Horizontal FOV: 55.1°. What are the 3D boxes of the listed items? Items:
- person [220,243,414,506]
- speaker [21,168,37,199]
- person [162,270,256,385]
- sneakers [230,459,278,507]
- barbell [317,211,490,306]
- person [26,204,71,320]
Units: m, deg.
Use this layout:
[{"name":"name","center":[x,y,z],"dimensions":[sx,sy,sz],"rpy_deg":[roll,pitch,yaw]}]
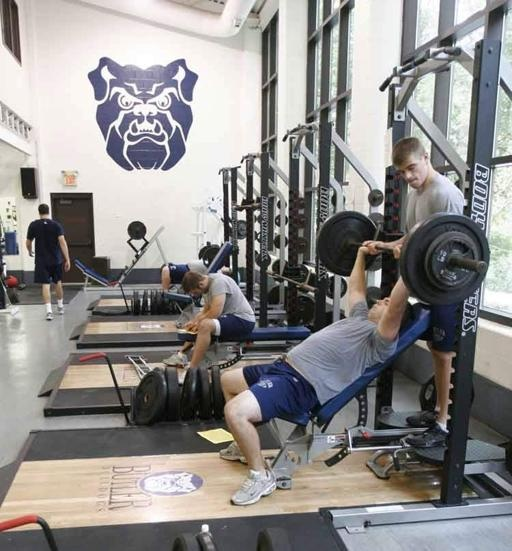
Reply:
[{"name":"person","center":[0.240,0.383,2.266],"dimensions":[0.671,1.115,0.749],"rpy_deg":[4,11,-20]},{"name":"speaker","center":[-3.973,-1.603,8.563],"dimensions":[0.268,0.554,0.220],"rpy_deg":[-2,6,-25]},{"name":"person","center":[-0.290,0.309,3.521],"dimensions":[0.739,0.797,0.540],"rpy_deg":[-1,1,-14]},{"name":"sneakers","center":[-0.004,0.845,1.971],"dimensions":[0.191,0.118,0.056],"rpy_deg":[-2,6,-32]},{"name":"barbell","center":[0.601,-0.097,2.258],"dimensions":[0.370,0.439,1.485],"rpy_deg":[0,5,-5]},{"name":"person","center":[-2.563,0.047,6.063],"dimensions":[0.537,1.788,0.479],"rpy_deg":[1,11,-14]}]
